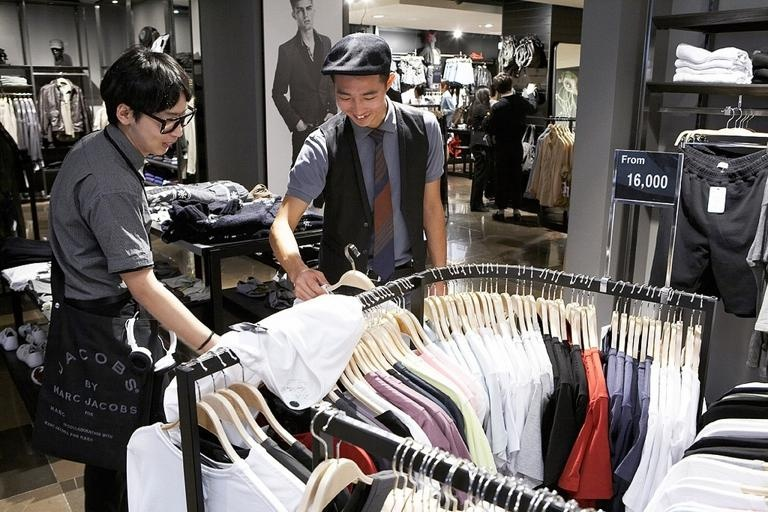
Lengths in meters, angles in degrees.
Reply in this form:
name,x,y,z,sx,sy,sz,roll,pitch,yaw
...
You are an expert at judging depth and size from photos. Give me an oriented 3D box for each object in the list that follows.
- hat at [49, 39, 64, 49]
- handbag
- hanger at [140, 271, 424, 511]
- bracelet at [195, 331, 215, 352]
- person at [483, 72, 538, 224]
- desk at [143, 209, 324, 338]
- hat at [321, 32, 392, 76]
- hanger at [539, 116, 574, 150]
name,x,y,z,sx,sy,sz,roll,pitch,yaw
hat,-5.889,-3.759,9.111,0.182,0.131,0.257,2,18,-12
handbag,-1.238,0.370,2.176,0.527,1.159,0.184,8,21,-5
hanger,-0.317,0.453,1.667,0.141,0.396,0.595,2,19,39
bracelet,-0.754,0.371,2.175,0.074,0.055,0.076,-36,19,29
person,2.137,-1.813,8.583,0.903,2.408,0.504,-8,14,-36
desk,-1.117,-0.047,4.005,0.889,0.925,0.892,11,15,39
hat,-0.103,-0.890,2.290,0.292,0.167,0.429,15,26,21
hanger,2.676,-1.922,7.875,0.503,0.435,1.030,4,13,16
